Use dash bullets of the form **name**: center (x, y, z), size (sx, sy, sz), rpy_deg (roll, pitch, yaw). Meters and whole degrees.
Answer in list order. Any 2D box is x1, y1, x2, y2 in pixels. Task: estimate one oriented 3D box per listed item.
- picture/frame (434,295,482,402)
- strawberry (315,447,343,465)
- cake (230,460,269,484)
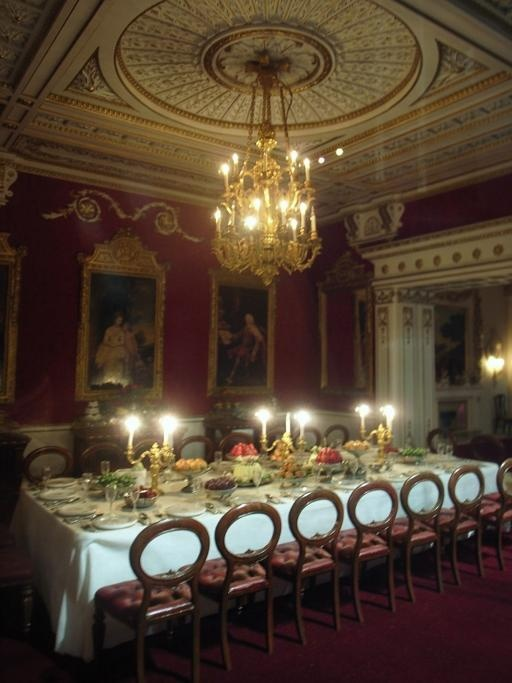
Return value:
- **picture/frame**: center (3.819, -0.059, 10.886), size (1.328, 1.300, 0.325), rpy_deg (1, 0, -43)
- **strawberry**: center (0.602, 0.944, 4.713), size (0.159, 0.079, 0.152), rpy_deg (2, -3, 11)
- **cake**: center (-0.029, 1.011, 4.419), size (0.240, 0.097, 0.225), rpy_deg (-1, 0, -15)
